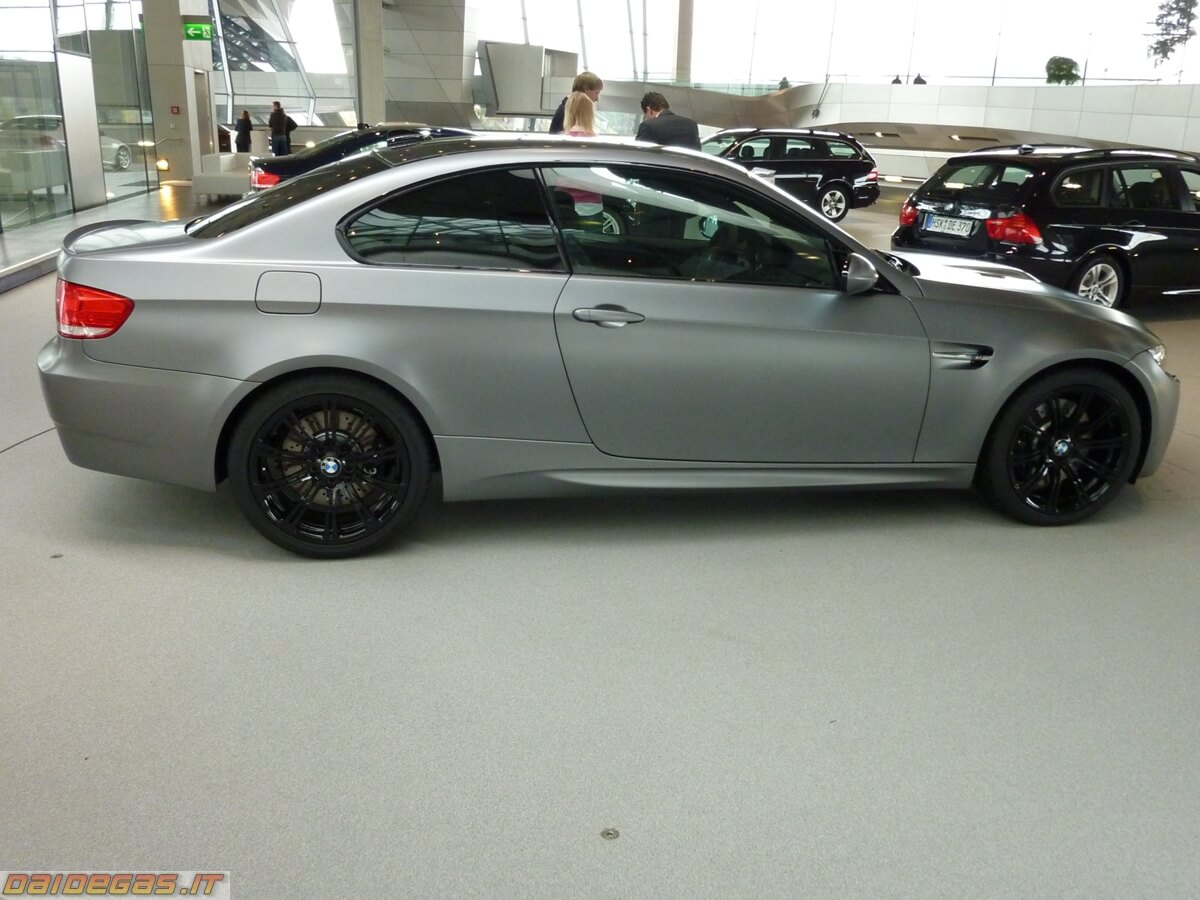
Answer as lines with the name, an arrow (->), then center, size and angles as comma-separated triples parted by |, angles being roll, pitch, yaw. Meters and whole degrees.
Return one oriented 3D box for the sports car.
sports car -> 0.010, -0.480, 3.559 | 5.474, 1.343, 1.966 | -2, 10, -5
